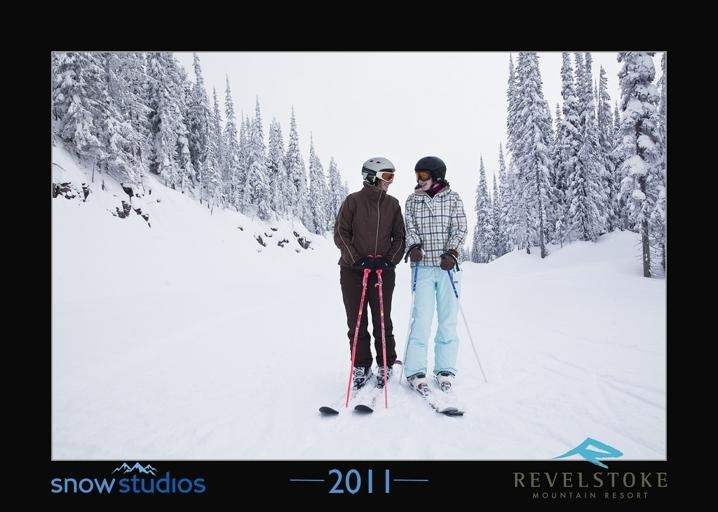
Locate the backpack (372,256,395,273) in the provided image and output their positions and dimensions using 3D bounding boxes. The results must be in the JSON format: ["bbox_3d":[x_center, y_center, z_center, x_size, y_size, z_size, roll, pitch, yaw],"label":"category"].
[{"bbox_3d":[0.389,0.139,10.719,0.373,0.264,0.248,-3,11,-3],"label":"backpack"}]

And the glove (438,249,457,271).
[{"bbox_3d":[1.411,0.067,10.617,0.238,0.310,0.307,7,-1,5],"label":"glove"}]

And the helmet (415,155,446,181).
[{"bbox_3d":[1.159,-1.418,10.830,0.337,0.331,0.444,11,33,17],"label":"helmet"}]

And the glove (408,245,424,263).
[{"bbox_3d":[0.922,-0.036,10.802,0.191,0.239,0.257,6,-21,-8],"label":"glove"}]
